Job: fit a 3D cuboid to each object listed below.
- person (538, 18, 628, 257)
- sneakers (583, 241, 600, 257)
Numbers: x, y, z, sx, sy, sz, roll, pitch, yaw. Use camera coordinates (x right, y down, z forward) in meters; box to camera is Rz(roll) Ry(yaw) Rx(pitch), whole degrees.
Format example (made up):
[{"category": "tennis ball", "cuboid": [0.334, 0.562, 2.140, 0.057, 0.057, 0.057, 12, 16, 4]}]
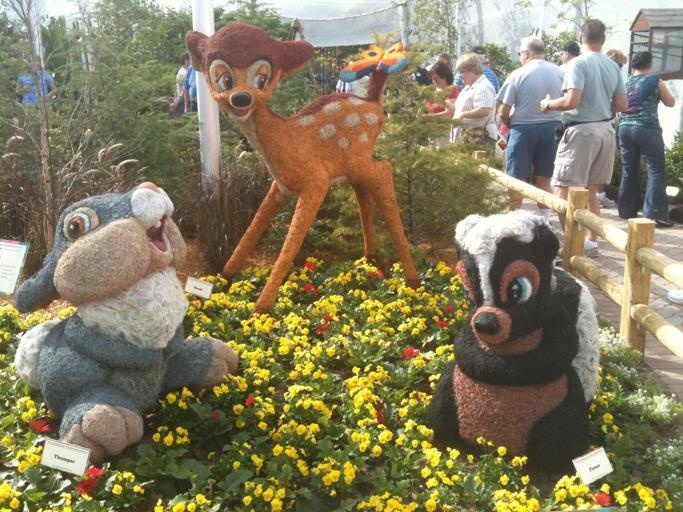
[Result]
[{"category": "person", "cuboid": [2.706, -1.513, 6.730, 0.982, 2.115, 0.506, -9, 18, -22]}, {"category": "sneakers", "cuboid": [3.014, -0.088, 7.308, 0.113, 0.141, 0.312, 0, 16, 5]}]
